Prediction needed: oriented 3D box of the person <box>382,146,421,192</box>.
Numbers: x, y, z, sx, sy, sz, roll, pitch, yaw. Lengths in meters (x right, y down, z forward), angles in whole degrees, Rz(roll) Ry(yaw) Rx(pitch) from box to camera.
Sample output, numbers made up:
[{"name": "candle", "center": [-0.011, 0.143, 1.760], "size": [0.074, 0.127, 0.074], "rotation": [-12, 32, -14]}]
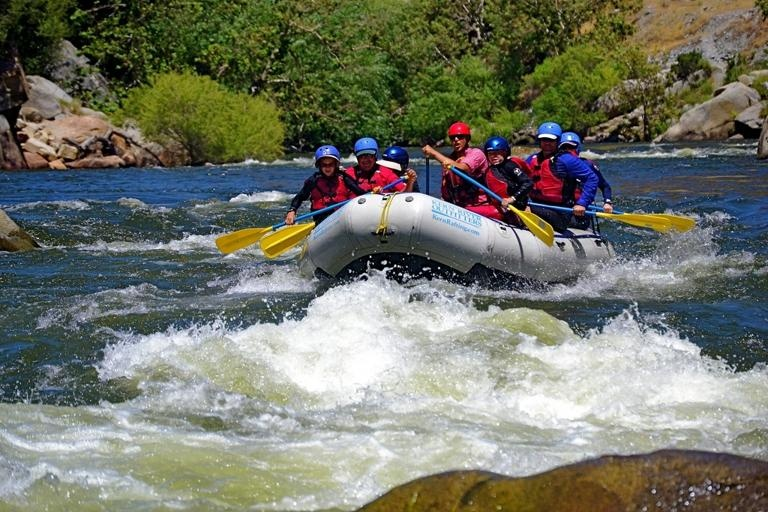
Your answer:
[{"name": "person", "center": [0.169, -1.669, 17.934], "size": [0.702, 0.848, 0.940], "rotation": [-3, 2, 42]}]

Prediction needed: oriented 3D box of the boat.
[{"name": "boat", "center": [1.271, -0.119, 15.934], "size": [3.255, 0.779, 1.942], "rotation": [12, -7, -35]}]

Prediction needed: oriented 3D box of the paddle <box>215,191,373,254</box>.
[{"name": "paddle", "center": [-1.624, -0.579, 17.712], "size": [3.687, 0.435, 0.268], "rotation": [-20, 17, -8]}]

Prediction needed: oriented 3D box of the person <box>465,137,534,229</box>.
[{"name": "person", "center": [2.015, -1.146, 16.730], "size": [1.047, 1.833, 1.004], "rotation": [-15, 21, -36]}]
